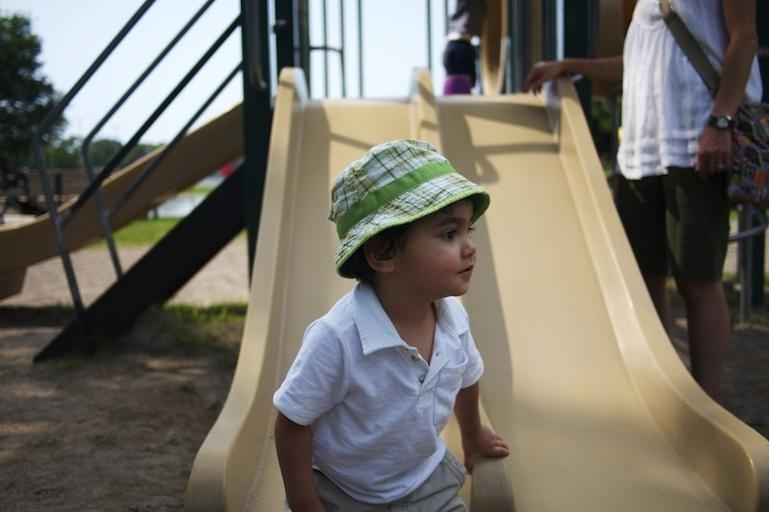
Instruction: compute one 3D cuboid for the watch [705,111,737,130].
[{"bbox_3d":[1.759,-0.693,4.079,0.105,0.085,0.116,16,8,34],"label":"watch"}]
